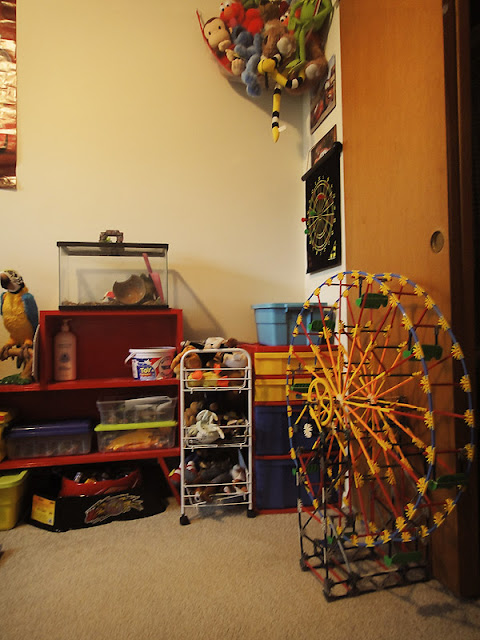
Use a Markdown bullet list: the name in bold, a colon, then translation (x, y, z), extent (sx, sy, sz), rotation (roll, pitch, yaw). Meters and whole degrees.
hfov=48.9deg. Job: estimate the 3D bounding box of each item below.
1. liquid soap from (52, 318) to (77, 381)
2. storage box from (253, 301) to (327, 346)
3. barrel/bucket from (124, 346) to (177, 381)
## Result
- **liquid soap**: translation (-0.820, 0.139, 2.457), extent (0.100, 0.273, 0.233), rotation (-3, 5, -17)
- **storage box**: translation (0.198, 0.019, 2.324), extent (0.246, 0.125, 0.205), rotation (0, -1, -17)
- **barrel/bucket**: translation (-0.385, 0.190, 2.369), extent (0.159, 0.094, 0.163), rotation (-1, -2, 0)
